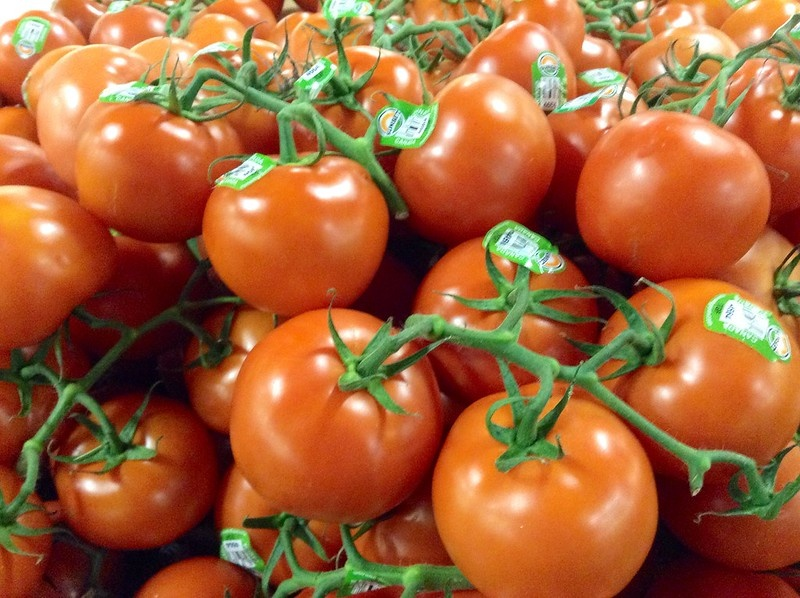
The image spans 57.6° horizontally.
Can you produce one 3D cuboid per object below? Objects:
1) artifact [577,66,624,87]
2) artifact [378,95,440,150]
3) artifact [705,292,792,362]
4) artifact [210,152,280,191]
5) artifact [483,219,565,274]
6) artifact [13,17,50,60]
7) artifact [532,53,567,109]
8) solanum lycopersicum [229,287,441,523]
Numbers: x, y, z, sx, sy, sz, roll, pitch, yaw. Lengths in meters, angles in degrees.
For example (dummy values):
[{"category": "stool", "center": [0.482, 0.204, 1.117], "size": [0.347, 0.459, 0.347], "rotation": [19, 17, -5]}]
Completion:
[{"category": "artifact", "center": [0.327, -0.360, 1.182], "size": [0.055, 0.013, 0.056], "rotation": [-12, 36, -10]}, {"category": "artifact", "center": [0.007, -0.241, 1.032], "size": [0.089, 0.020, 0.071], "rotation": [-20, 64, 14]}, {"category": "artifact", "center": [0.408, 0.037, 0.880], "size": [0.092, 0.024, 0.073], "rotation": [39, 55, 4]}, {"category": "artifact", "center": [-0.208, -0.166, 0.961], "size": [0.073, 0.013, 0.051], "rotation": [-39, 46, -24]}, {"category": "artifact", "center": [0.163, -0.055, 0.967], "size": [0.097, 0.023, 0.059], "rotation": [34, 63, 10]}, {"category": "artifact", "center": [-0.826, -0.562, 1.611], "size": [0.088, 0.123, 0.030], "rotation": [-15, 87, -39]}, {"category": "artifact", "center": [0.229, -0.328, 1.113], "size": [0.063, 0.044, 0.084], "rotation": [-9, 97, -20]}, {"category": "solanum lycopersicum", "center": [-0.082, 0.121, 0.869], "size": [0.259, 0.171, 0.240], "rotation": [-18, 59, -11]}]
